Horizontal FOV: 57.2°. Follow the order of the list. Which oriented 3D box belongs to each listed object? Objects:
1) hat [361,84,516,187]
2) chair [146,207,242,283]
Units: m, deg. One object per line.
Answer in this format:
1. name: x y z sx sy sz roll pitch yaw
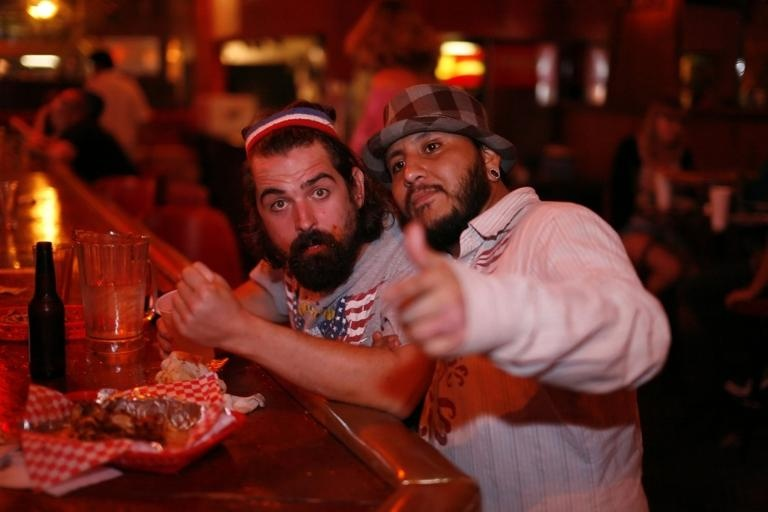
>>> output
1. hat: 0.183 -0.395 2.151 0.388 0.148 0.286 7 -24 -21
2. chair: -0.962 -0.086 3.718 0.446 0.558 0.406 -3 3 -32
